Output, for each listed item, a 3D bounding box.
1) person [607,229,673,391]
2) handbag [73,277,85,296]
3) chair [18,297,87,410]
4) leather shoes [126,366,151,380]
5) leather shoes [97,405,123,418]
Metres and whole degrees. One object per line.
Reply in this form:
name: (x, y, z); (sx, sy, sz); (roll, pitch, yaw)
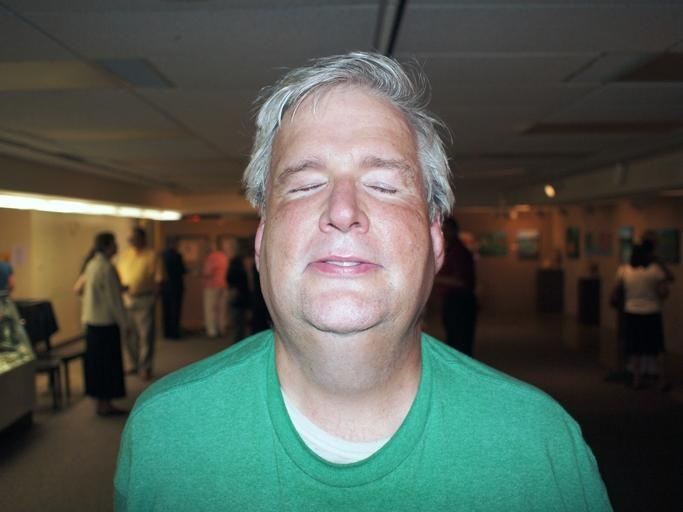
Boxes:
person: (1.631, 0.310, 2.958); (0.307, 0.830, 0.175); (3, 1, 15)
handbag: (-1.135, 0.136, 2.349); (0.022, 0.077, 0.056); (14, -40, 3)
chair: (-1.287, 0.441, 2.393); (0.269, 0.500, 0.124); (2, 1, -29)
leather shoes: (-0.985, 0.577, 2.640); (0.080, 0.037, 0.117); (37, -31, 19)
leather shoes: (-1.068, 0.720, 2.507); (0.135, 0.077, 0.044); (-1, -7, 1)
